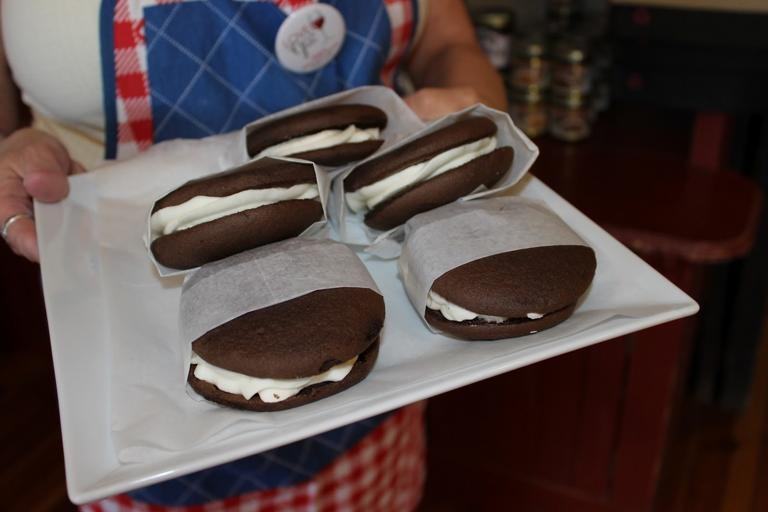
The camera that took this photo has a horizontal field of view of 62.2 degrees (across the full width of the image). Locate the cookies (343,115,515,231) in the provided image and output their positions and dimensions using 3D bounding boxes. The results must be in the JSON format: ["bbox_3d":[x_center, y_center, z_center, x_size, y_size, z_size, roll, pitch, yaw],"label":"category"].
[{"bbox_3d":[0.103,-0.188,1.478,0.319,0.131,0.255,-25,-2,4],"label":"cookies"}]
